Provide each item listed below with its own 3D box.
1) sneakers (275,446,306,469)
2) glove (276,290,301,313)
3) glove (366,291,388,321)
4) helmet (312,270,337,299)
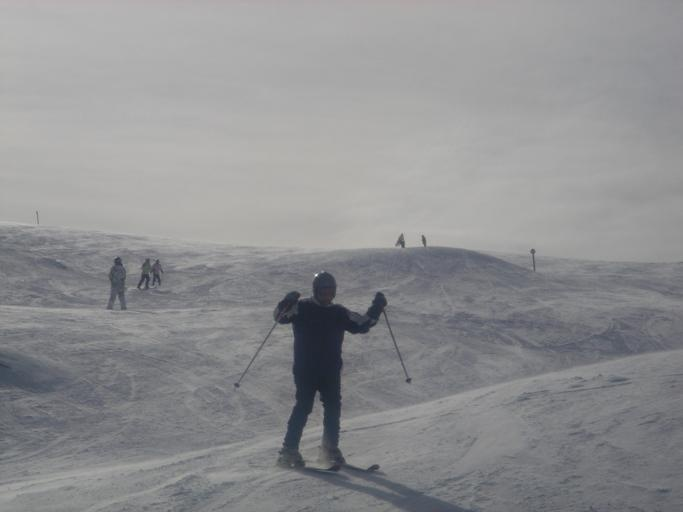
[{"bbox_3d":[-0.993,3.903,18.810,0.260,0.261,0.597,3,-8,-43],"label":"sneakers"},{"bbox_3d":[-1.035,0.878,18.808,0.416,0.389,0.301,1,1,-6],"label":"glove"},{"bbox_3d":[0.718,0.954,19.015,0.348,0.222,0.578,25,-53,-22],"label":"glove"},{"bbox_3d":[-0.340,0.545,19.202,0.422,0.449,0.603,1,1,2],"label":"helmet"}]
